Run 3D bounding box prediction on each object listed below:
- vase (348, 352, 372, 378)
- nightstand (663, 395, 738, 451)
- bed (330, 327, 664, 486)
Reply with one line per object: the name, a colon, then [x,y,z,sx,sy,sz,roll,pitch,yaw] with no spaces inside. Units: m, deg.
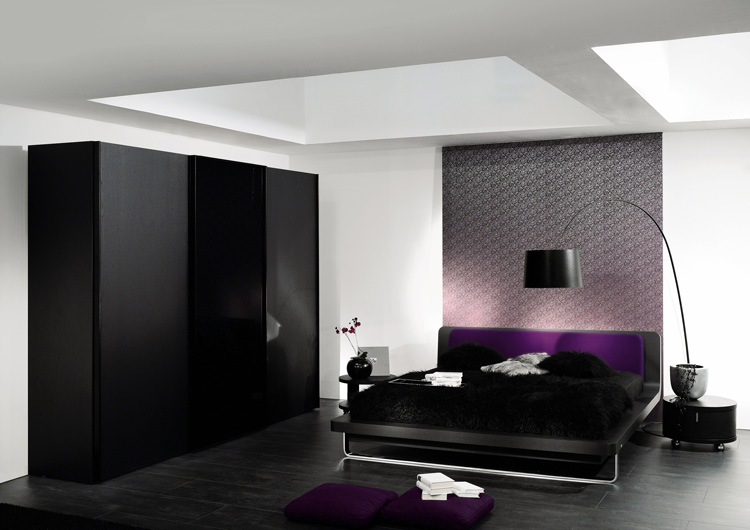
vase: [-0.153,1.056,6.294,0.256,0.235,0.248,0,-7,19]
nightstand: [3.025,1.492,5.572,0.613,0.350,0.615,-7,-13,39]
bed: [1.244,1.203,5.638,2.641,0.967,2.289,0,1,24]
